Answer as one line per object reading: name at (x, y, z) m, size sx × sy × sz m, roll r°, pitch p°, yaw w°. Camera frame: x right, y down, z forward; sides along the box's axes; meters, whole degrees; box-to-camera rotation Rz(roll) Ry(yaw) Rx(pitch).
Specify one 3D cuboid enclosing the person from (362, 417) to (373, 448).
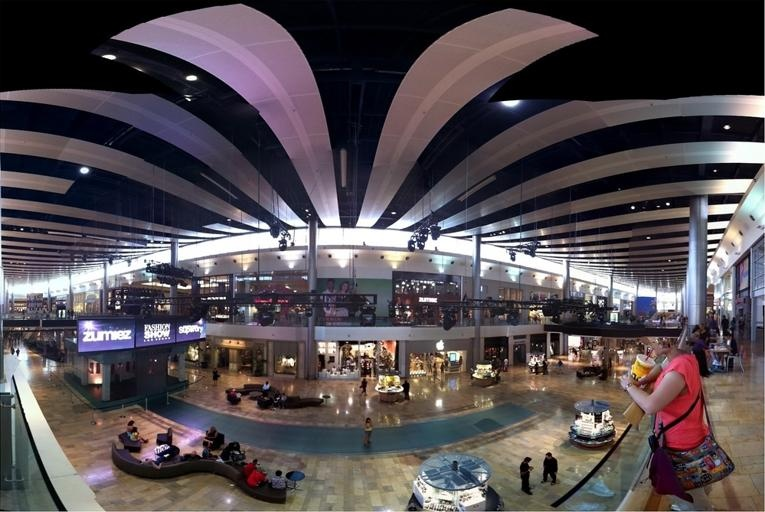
person at (-0.673, 7.350, 22.233) m, size 0.357 × 1.094 × 1.146 m, roll 0°, pitch 6°, yaw -3°

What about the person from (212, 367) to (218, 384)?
person at (-9.937, 7.181, 31.312) m, size 0.310 × 0.777 × 1.148 m, roll -2°, pitch 7°, yaw -22°

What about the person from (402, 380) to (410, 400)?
person at (1.211, 7.182, 28.207) m, size 0.371 × 1.003 × 1.024 m, roll 1°, pitch 6°, yaw 2°

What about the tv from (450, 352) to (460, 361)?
tv at (4.682, 6.786, 35.192) m, size 0.626 × 0.573 × 0.328 m, roll 1°, pitch 2°, yaw -20°

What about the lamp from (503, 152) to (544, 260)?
lamp at (6.933, -2.489, 26.210) m, size 0.759 × 5.561 × 2.358 m, roll -24°, pitch 32°, yaw -30°

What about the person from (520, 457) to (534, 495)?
person at (5.101, 7.944, 19.008) m, size 0.425 × 1.113 × 0.689 m, roll 3°, pitch 7°, yaw 15°

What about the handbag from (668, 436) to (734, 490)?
handbag at (7.082, 4.747, 11.935) m, size 1.327 × 0.917 × 0.733 m, roll -27°, pitch -12°, yaw 8°

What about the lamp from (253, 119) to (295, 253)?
lamp at (-5.270, -3.188, 24.465) m, size 0.992 × 5.778 × 1.184 m, roll -23°, pitch 28°, yaw -29°

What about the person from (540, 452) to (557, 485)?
person at (6.095, 7.831, 19.470) m, size 0.520 × 1.076 × 0.452 m, roll 2°, pitch 7°, yaw 13°
